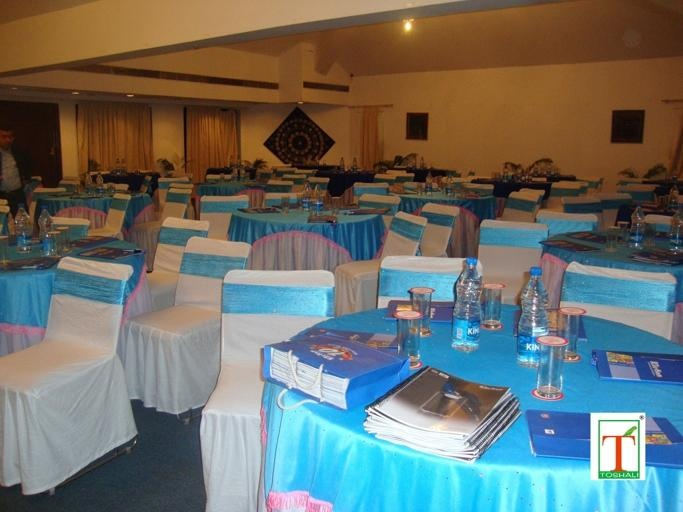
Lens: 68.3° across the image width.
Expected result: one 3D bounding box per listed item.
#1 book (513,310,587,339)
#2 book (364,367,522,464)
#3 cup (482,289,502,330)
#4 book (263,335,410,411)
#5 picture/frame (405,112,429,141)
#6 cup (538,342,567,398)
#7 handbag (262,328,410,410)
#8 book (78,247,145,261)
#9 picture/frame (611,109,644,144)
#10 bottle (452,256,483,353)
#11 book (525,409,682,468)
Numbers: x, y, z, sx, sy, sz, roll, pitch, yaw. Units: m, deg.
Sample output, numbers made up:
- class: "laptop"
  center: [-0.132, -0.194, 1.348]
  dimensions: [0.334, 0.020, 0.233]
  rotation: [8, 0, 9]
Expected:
- class: "book"
  center: [0.831, 0.270, 2.001]
  dimensions: [0.201, 0.047, 0.187]
  rotation: [1, 1, -21]
- class: "book"
  center: [0.303, 0.480, 1.514]
  dimensions: [0.444, 0.110, 0.287]
  rotation: [4, 10, 15]
- class: "cup"
  center: [0.672, 0.204, 2.245]
  dimensions: [0.091, 0.193, 0.230]
  rotation: [4, 11, 15]
- class: "book"
  center: [-0.001, 0.323, 1.633]
  dimensions: [0.247, 0.111, 0.317]
  rotation: [12, 13, 39]
- class: "picture/frame"
  center: [2.055, -3.505, 13.589]
  dimensions: [0.763, 0.859, 0.095]
  rotation: [7, 7, 36]
- class: "cup"
  center: [0.695, 0.349, 1.667]
  dimensions: [0.088, 0.199, 0.192]
  rotation: [6, 11, 24]
- class: "handbag"
  center: [0.040, 0.313, 1.648]
  dimensions: [0.273, 0.104, 0.291]
  rotation: [14, 14, 40]
- class: "book"
  center: [-1.623, -0.011, 3.527]
  dimensions: [0.331, 0.028, 0.278]
  rotation: [-5, 8, -2]
- class: "picture/frame"
  center: [6.108, -2.774, 10.705]
  dimensions: [0.700, 0.756, 0.031]
  rotation: [10, 20, 42]
- class: "bottle"
  center: [0.517, 0.181, 2.062]
  dimensions: [0.112, 0.330, 0.316]
  rotation: [4, 10, 14]
- class: "book"
  center: [0.745, 0.517, 1.437]
  dimensions: [0.423, 0.065, 0.186]
  rotation: [2, 10, 6]
